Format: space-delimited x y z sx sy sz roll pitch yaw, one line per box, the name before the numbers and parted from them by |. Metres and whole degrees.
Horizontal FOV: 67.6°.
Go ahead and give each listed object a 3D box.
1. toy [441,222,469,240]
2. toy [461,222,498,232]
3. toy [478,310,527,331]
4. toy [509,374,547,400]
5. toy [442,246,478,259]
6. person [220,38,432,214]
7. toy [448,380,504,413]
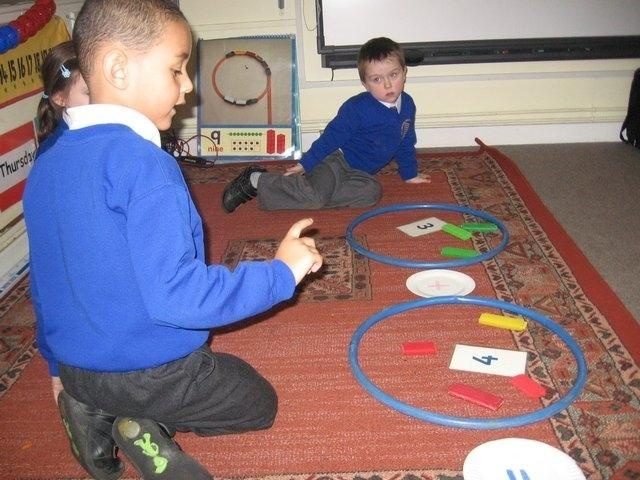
toy | 0.730 -0.055 2.564 0.076 0.027 0.125 -29 42 -33
toy | 0.878 -0.081 2.607 0.152 0.030 0.070 3 25 4
toy | 0.747 0.321 1.943 0.151 0.029 0.076 6 17 19
toy | 0.729 0.504 1.649 0.062 0.017 0.080 -19 27 -22
toy | 0.702 0.060 2.367 0.147 0.028 0.070 2 18 -1
person | 0.056 -0.831 3.322 1.627 0.909 0.533 -4 14 -16
toy | 0.526 0.523 1.601 0.139 0.021 0.070 13 26 32
